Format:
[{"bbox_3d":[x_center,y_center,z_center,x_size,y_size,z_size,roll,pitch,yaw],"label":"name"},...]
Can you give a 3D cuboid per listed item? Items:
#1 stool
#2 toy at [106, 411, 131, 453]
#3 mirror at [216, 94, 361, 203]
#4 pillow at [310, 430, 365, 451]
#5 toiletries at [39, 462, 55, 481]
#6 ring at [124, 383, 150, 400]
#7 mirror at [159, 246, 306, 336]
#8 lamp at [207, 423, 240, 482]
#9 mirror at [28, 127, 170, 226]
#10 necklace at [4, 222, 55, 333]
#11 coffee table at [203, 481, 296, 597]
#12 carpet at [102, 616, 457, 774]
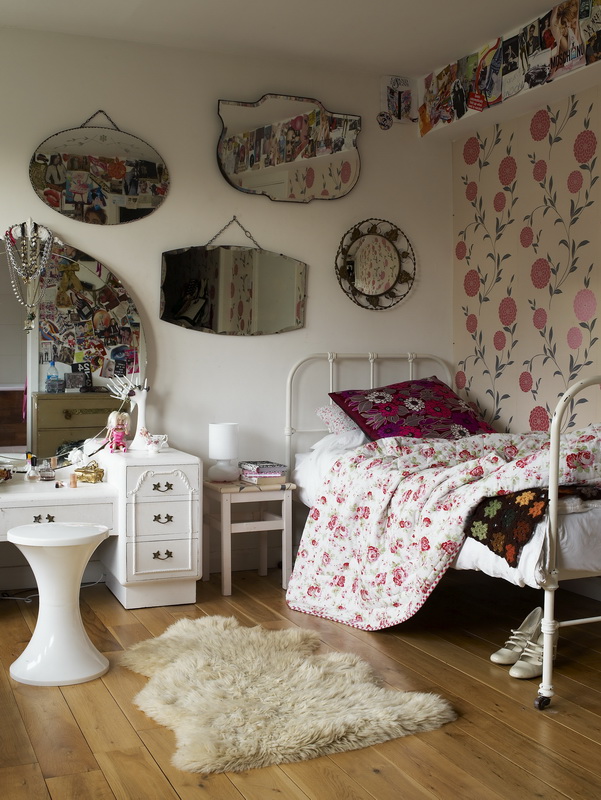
[{"bbox_3d":[-0.735,0.609,1.972,0.307,0.425,0.333,1,-4,-5],"label":"stool"},{"bbox_3d":[-0.842,0.149,2.996,0.109,0.183,0.246,1,-4,-15],"label":"toy"},{"bbox_3d":[-0.096,-1.317,3.404,0.706,0.471,0.026,0,0,-25],"label":"mirror"},{"bbox_3d":[0.202,0.197,3.132,0.143,0.041,0.129,-14,9,-25],"label":"pillow"},{"bbox_3d":[-1.119,0.324,2.868,0.070,0.109,0.064,3,-7,-38],"label":"toiletries"},{"bbox_3d":[-0.765,-0.042,3.074,0.069,0.035,0.093,6,15,30],"label":"ring"},{"bbox_3d":[-0.360,-0.547,3.329,0.798,0.478,0.010,9,15,17],"label":"mirror"},{"bbox_3d":[-0.381,0.262,3.195,0.152,0.278,0.268,1,-4,-7],"label":"lamp"},{"bbox_3d":[-0.970,-1.042,3.034,0.557,0.455,0.008,-2,2,-31],"label":"mirror"},{"bbox_3d":[-1.221,-0.550,2.915,0.217,0.485,0.039,2,-4,-21],"label":"necklace"},{"bbox_3d":[-0.285,0.654,3.136,0.488,0.643,0.491,2,-8,-20],"label":"coffee table"},{"bbox_3d":[-0.087,0.792,1.814,0.723,0.040,0.848,2,-4,-26],"label":"carpet"}]
